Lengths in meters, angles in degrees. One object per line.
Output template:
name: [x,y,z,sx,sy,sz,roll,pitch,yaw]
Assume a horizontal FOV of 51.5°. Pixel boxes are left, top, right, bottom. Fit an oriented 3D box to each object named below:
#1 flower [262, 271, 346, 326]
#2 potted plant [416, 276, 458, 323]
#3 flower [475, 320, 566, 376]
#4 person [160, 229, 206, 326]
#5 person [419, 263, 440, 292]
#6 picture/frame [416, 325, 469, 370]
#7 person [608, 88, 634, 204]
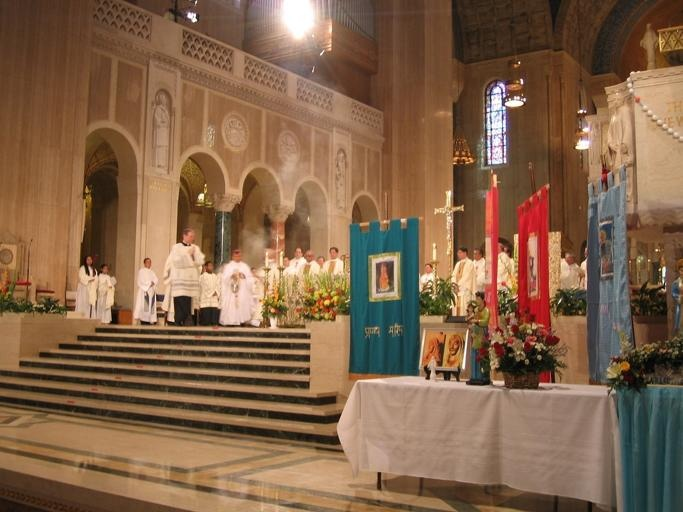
flower: [-0.623,0.752,12.047,1.010,0.626,0.749,0,-5,-29]
potted plant: [1.323,0.569,9.825,0.460,0.504,0.488,4,-6,-20]
flower: [1.734,0.877,6.746,0.548,0.416,0.561,-5,-6,31]
person: [-3.309,0.569,14.919,0.925,1.656,0.446,-11,12,-17]
person: [1.610,0.388,12.851,0.233,0.798,0.327,13,-17,-26]
picture/frame: [1.101,0.978,7.511,0.679,0.659,0.071,-4,-20,38]
person: [3.741,-1.516,9.432,0.282,1.475,1.086,-4,12,13]
